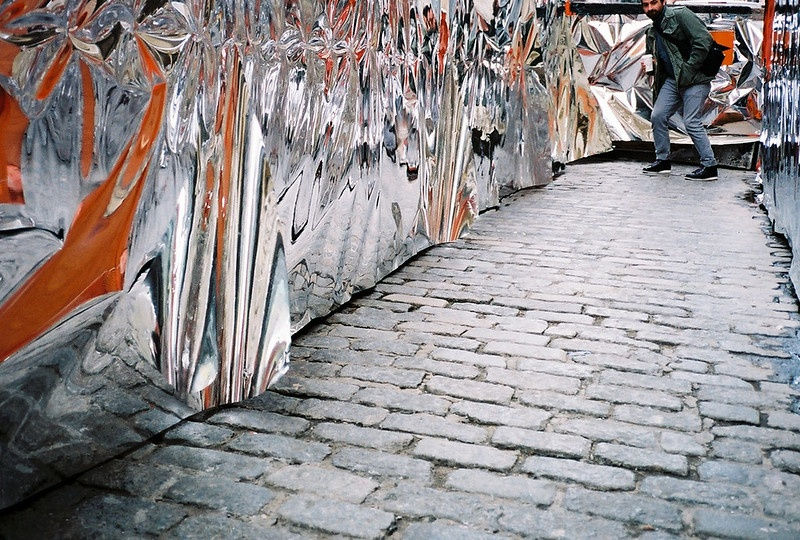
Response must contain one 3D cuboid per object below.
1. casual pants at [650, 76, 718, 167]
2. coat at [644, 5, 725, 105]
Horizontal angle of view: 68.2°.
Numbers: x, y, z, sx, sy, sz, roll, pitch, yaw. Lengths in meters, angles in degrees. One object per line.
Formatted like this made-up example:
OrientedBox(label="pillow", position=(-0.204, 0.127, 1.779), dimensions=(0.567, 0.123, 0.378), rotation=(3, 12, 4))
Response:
OrientedBox(label="casual pants", position=(4.363, -2.359, 9.140), dimensions=(0.827, 0.592, 2.284), rotation=(6, 52, 23))
OrientedBox(label="coat", position=(4.204, -3.182, 8.668), dimensions=(0.829, 1.329, 1.189), rotation=(-30, 19, -4))
